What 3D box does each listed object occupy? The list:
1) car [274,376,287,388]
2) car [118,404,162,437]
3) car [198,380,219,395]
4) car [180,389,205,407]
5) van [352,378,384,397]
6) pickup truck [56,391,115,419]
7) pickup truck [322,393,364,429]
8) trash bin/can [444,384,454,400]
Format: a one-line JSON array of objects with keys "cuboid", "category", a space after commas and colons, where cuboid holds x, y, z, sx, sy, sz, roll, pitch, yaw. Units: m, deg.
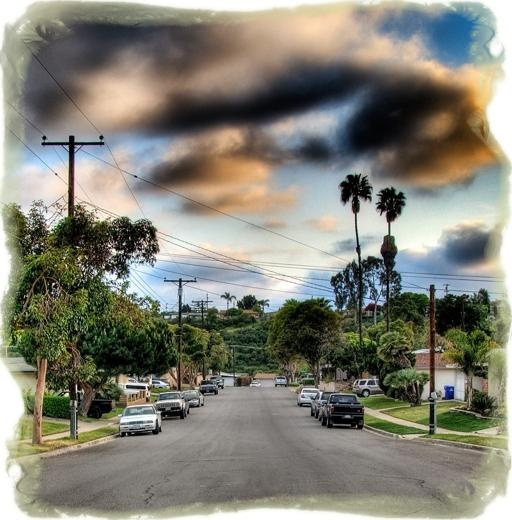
[{"cuboid": [4.022, 19.003, 103.095, 1.436, 1.766, 3.343, 4, -13, -23], "category": "car"}, {"cuboid": [-5.415, 7.514, 30.938, 1.895, 1.417, 2.211, 2, -12, -14], "category": "car"}, {"cuboid": [-5.595, 15.161, 78.681, 2.063, 1.750, 3.329, 1, -12, -8], "category": "car"}, {"cuboid": [-5.073, 11.237, 54.468, 1.033, 1.156, 3.074, 0, -17, -1], "category": "car"}, {"cuboid": [10.458, 11.872, 60.932, 2.153, 1.376, 1.348, -4, -2, -5], "category": "van"}, {"cuboid": [-11.008, 9.365, 42.593, 3.158, 2.103, 2.071, 5, -11, 3], "category": "pickup truck"}, {"cuboid": [4.510, 7.903, 34.603, 2.012, 1.880, 2.552, -1, -11, 2], "category": "pickup truck"}, {"cuboid": [12.795, 8.716, 43.410, 0.649, 1.000, 0.782, 1, -7, 0], "category": "trash bin/can"}]
